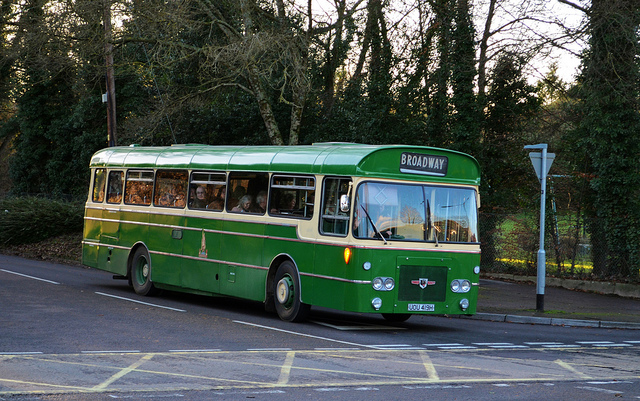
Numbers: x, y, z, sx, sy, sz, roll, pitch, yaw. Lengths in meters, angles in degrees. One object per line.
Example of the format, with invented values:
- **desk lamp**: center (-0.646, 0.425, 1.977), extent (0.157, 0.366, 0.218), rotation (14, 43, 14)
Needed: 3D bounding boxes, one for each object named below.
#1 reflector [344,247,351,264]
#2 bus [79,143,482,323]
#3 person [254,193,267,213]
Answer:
- **reflector**: center (0.635, 1.266, 13.709), extent (0.169, 0.321, 0.030), rotation (3, 1, 23)
- **bus**: center (-2.203, 0.702, 17.744), extent (13.628, 3.651, 3.218), rotation (3, 1, 37)
- **person**: center (-1.601, 0.023, 15.563), extent (0.440, 0.715, 0.415), rotation (2, 1, -12)
